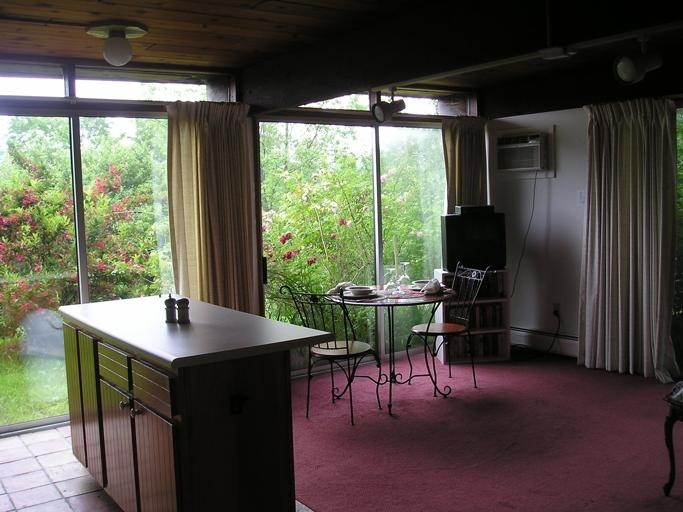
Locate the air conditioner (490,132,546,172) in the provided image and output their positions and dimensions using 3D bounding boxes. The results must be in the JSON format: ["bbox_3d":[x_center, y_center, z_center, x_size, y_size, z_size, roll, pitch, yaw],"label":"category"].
[{"bbox_3d":[1.988,-1.122,5.925,0.199,0.437,0.558,-8,9,-36],"label":"air conditioner"}]

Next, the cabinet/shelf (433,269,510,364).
[{"bbox_3d":[1.329,0.604,5.533,0.958,1.291,0.440,-1,1,-16],"label":"cabinet/shelf"}]

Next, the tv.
[{"bbox_3d":[1.384,-0.143,5.642,0.608,0.614,0.282,-1,5,-7],"label":"tv"}]

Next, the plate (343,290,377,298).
[{"bbox_3d":[0.155,0.324,4.644,0.270,0.059,0.186,-2,8,1],"label":"plate"}]

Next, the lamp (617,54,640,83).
[{"bbox_3d":[1.829,-1.188,3.446,0.150,0.157,0.150,-18,28,-36],"label":"lamp"}]

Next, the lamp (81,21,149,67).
[{"bbox_3d":[-1.599,-1.487,3.877,0.411,0.288,0.459,-6,9,-22],"label":"lamp"}]

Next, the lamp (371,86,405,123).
[{"bbox_3d":[0.413,-1.350,4.699,0.246,0.375,0.145,-2,-24,-3],"label":"lamp"}]
